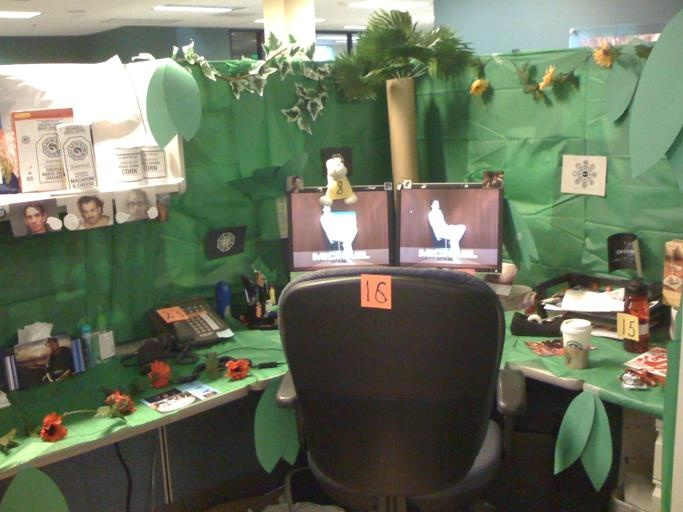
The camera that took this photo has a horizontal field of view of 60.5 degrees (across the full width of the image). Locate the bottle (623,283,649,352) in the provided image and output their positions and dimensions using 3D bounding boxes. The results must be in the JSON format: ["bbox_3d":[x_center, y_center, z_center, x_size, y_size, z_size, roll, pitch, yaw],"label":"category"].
[{"bbox_3d":[1.055,0.211,2.088,0.083,0.242,0.100,3,17,22],"label":"bottle"}]

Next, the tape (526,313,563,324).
[{"bbox_3d":[0.784,0.242,2.272,0.136,0.055,0.046,-4,0,14],"label":"tape"}]

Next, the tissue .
[{"bbox_3d":[-1.079,0.359,2.115,0.217,0.193,0.025,-10,-10,-30],"label":"tissue "}]

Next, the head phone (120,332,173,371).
[{"bbox_3d":[-0.744,0.369,2.237,0.143,0.044,0.121,-9,13,44],"label":"head phone"}]
